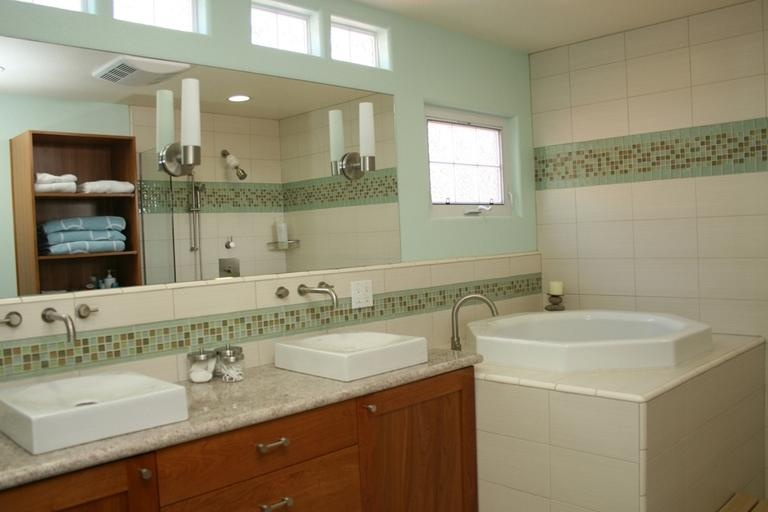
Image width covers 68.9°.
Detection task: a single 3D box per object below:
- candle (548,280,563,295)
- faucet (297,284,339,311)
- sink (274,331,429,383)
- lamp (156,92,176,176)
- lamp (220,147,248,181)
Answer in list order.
[{"bbox_3d":[1.365,0.251,4.447,0.107,0.114,0.106,0,6,11],"label":"candle"},{"bbox_3d":[-0.356,0.237,3.207,0.310,0.117,0.105,2,4,44],"label":"faucet"},{"bbox_3d":[-0.208,0.527,3.048,0.671,0.157,0.568,1,7,43],"label":"sink"},{"bbox_3d":[-1.106,-0.639,2.818,0.117,0.407,0.046,-8,7,-32],"label":"lamp"},{"bbox_3d":[-0.824,-0.492,3.000,0.072,0.077,0.202,-18,56,-44],"label":"lamp"}]
